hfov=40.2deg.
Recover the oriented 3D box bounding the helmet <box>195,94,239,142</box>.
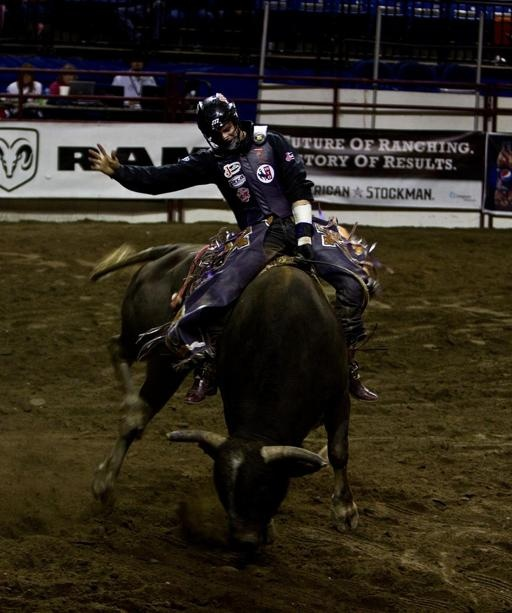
[{"bbox_3d":[-0.234,-1.171,4.353,0.247,0.323,0.217,1,9,0],"label":"helmet"}]

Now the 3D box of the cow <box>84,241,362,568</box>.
[{"bbox_3d":[-0.234,0.300,4.498,1.350,1.171,2.716,-5,15,-33],"label":"cow"}]

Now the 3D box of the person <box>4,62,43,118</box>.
[{"bbox_3d":[-4.285,-3.956,12.967,0.667,1.043,2.315,-1,8,-16],"label":"person"}]

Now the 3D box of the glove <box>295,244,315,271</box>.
[{"bbox_3d":[0.300,-0.301,4.282,0.150,0.127,0.165,-3,-4,-6],"label":"glove"}]

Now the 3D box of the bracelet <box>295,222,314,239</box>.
[{"bbox_3d":[0.305,-0.477,4.377,0.121,0.073,0.106,2,15,-2],"label":"bracelet"}]

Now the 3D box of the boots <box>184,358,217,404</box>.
[{"bbox_3d":[-0.359,0.458,4.321,0.144,0.211,0.348,11,23,20],"label":"boots"}]
